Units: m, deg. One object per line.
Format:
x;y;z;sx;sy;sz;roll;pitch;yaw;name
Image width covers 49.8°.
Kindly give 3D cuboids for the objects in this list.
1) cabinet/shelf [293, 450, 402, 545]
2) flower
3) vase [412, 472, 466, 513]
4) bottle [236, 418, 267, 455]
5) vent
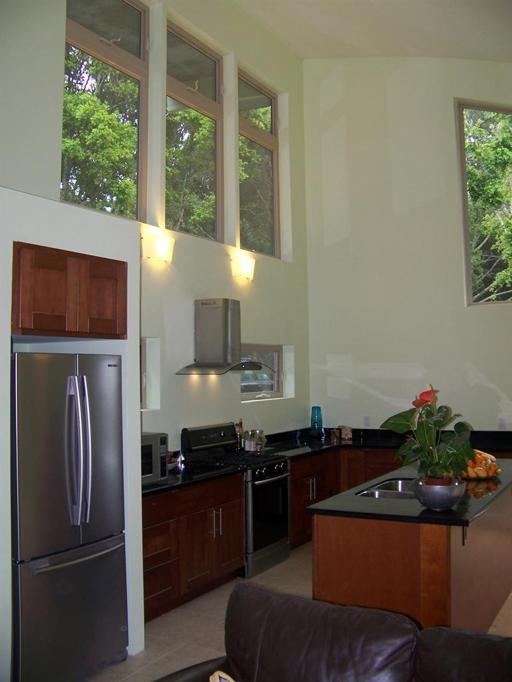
0.750;1.455;5.324;1.306;0.865;0.496;-4;-7;-30;cabinet/shelf
0.741;0.423;2.409;0.338;0.404;0.405;-9;-7;14;flower
0.788;0.654;2.406;0.156;0.093;0.164;0;-12;-1;vase
-0.038;0.877;5.026;0.308;0.344;0.191;0;-1;8;bottle
-0.309;-0.030;4.717;0.619;0.663;0.724;-2;-3;22;vent
